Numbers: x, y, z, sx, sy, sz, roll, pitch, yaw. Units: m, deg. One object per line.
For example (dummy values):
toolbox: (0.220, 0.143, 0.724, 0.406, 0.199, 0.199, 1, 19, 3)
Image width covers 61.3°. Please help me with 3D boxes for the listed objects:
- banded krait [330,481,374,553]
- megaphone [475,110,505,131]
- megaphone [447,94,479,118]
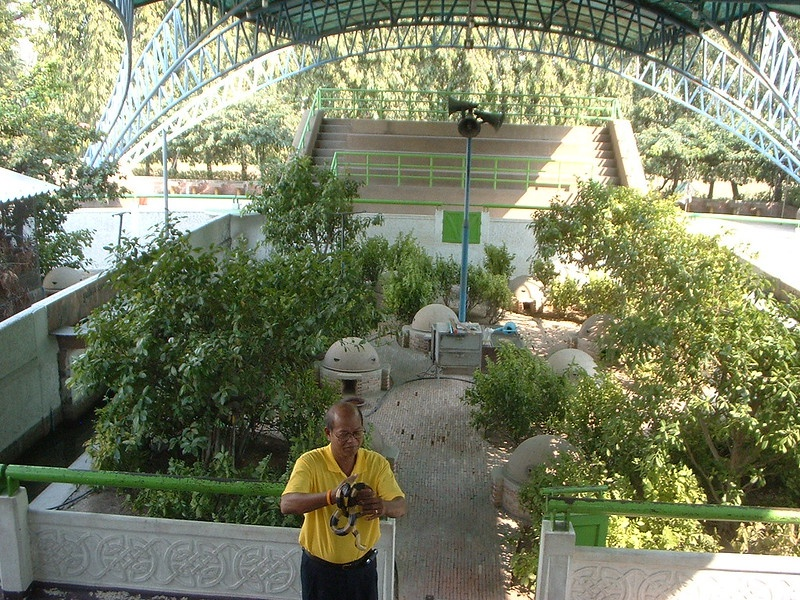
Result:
banded krait: (-0.409, 1.656, 5.390, 0.331, 0.559, 0.153, -1, 10, 4)
megaphone: (1.943, -3.847, 14.481, 0.789, 0.370, 0.611, -7, 16, -36)
megaphone: (1.340, -4.264, 14.529, 0.733, 0.601, 0.539, -1, 2, -8)
